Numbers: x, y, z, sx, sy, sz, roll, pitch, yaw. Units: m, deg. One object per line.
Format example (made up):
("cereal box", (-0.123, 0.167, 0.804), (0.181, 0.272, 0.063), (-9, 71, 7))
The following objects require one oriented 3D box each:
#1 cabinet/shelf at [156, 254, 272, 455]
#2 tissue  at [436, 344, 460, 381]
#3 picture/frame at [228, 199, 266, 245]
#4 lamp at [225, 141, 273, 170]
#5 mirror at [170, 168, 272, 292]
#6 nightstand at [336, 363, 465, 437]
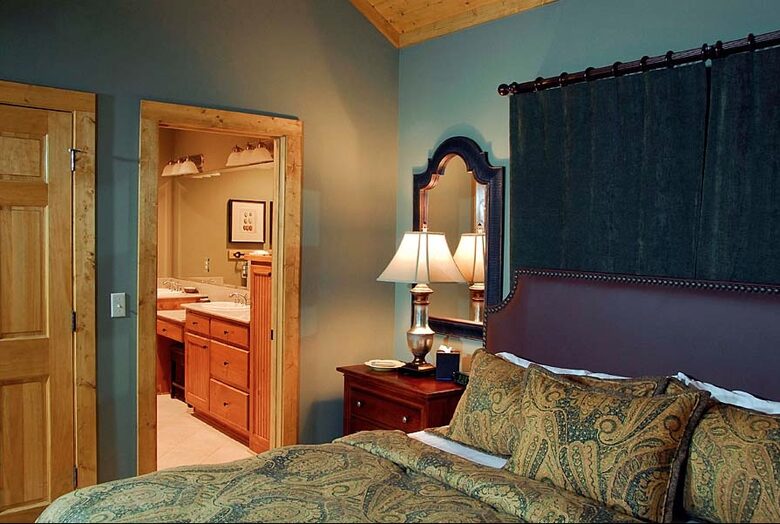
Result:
("cabinet/shelf", (-1.761, 0.987, 5.839), (0.633, 1.729, 1.776), (2, -2, -34))
("tissue ", (0.407, 0.724, 4.168), (0.191, 0.292, 0.200), (1, -1, -3))
("picture/frame", (-1.655, -0.490, 6.779), (0.496, 0.601, 0.064), (2, 3, 19))
("lamp", (-1.569, -1.193, 6.436), (0.239, 0.276, 0.816), (-10, 13, -39))
("mirror", (-1.939, -0.388, 6.807), (1.501, 1.099, 0.037), (1, 1, 41))
("nightstand", (0.119, 0.969, 4.252), (0.486, 0.727, 0.765), (-3, 5, -39))
